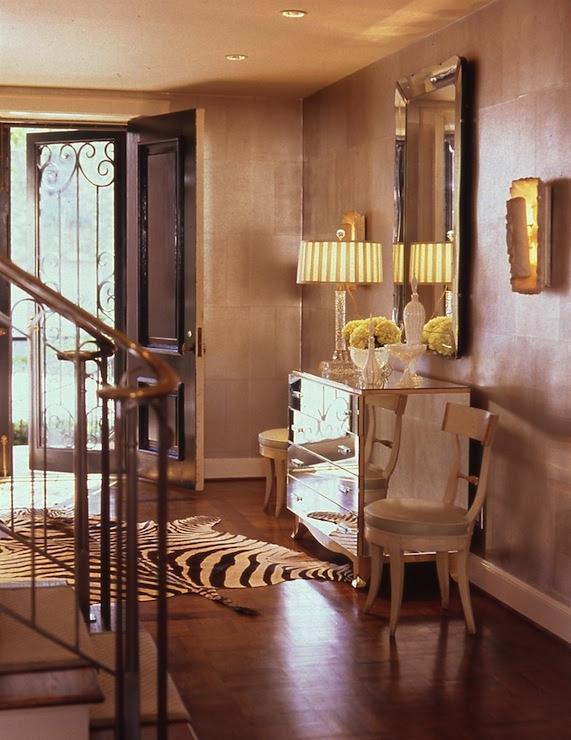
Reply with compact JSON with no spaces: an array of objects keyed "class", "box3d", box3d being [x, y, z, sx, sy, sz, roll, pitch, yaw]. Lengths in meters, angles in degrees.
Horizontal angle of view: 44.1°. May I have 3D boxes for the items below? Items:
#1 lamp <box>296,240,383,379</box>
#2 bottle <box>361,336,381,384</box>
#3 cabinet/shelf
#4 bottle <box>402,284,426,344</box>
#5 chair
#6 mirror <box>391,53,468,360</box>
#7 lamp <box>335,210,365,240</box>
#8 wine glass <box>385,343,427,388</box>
[{"class":"lamp","box3d":[0.322,-0.425,4.047,0.485,0.740,0.483,-1,13,-6]},{"class":"bottle","box3d":[0.410,-0.042,3.284,0.089,0.235,0.294,1,1,8]},{"class":"cabinet/shelf","box3d":[0.386,0.468,3.675,0.573,0.823,0.937,1,3,-29]},{"class":"bottle","box3d":[0.642,-0.263,3.446,0.099,0.296,0.335,1,0,11]},{"class":"chair","box3d":[0.567,0.562,2.818,0.470,0.833,0.464,2,1,4]},{"class":"mirror","box3d":[0.739,-0.816,3.597,0.212,1.476,0.752,1,0,-6]},{"class":"lamp","box3d":[0.432,-0.936,4.661,0.110,0.190,0.440,1,1,-9]},{"class":"wine glass","box3d":[0.628,-0.026,3.501,0.218,0.264,0.206,-2,1,-31]}]
